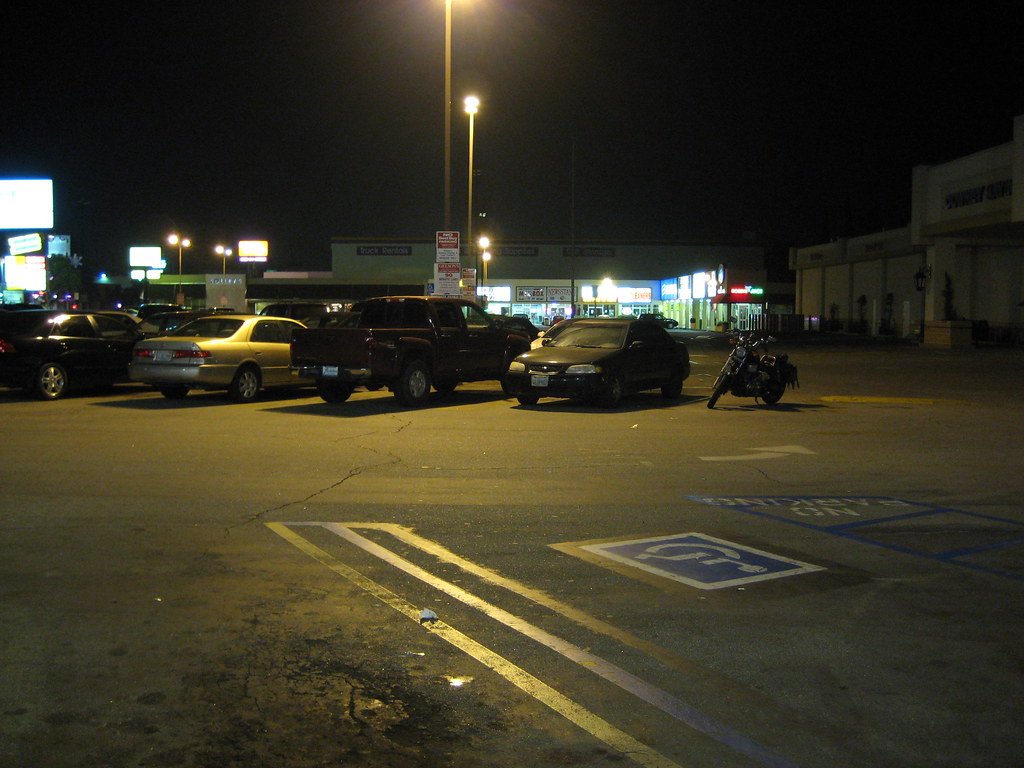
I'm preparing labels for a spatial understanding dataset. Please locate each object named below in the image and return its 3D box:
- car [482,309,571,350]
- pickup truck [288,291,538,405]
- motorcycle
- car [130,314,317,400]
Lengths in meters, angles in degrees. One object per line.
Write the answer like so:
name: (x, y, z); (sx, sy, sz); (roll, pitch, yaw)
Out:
car: (1.120, -2.325, 40.355); (3.638, 1.517, 1.756); (0, 4, 26)
pickup truck: (-2.173, -0.753, 20.293); (2.206, 1.497, 4.338); (3, 7, 38)
motorcycle: (5.085, -0.321, 19.885); (2.650, 1.585, 1.094); (1, 8, -40)
car: (-6.111, -0.571, 20.723); (1.834, 1.213, 4.099); (3, 7, 24)
